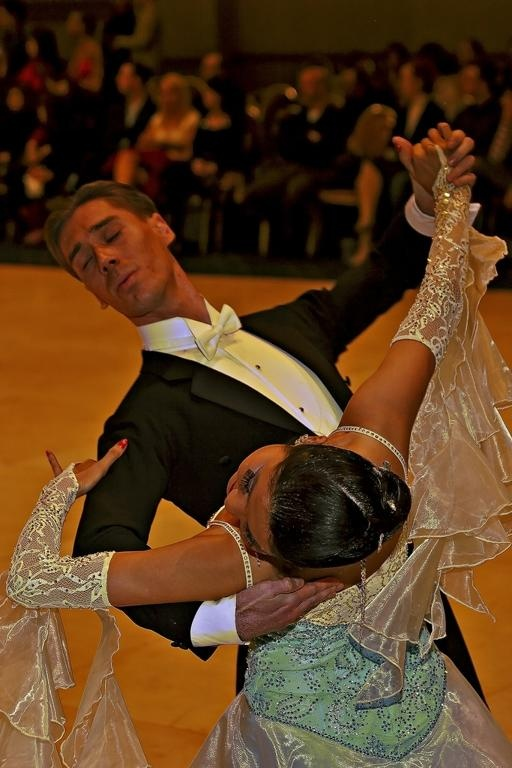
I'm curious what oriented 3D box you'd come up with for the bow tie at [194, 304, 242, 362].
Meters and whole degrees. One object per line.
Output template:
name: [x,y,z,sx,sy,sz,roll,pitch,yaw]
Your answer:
bow tie: [-0.088,-0.111,1.675,0.083,0.061,0.161,4,38,38]
